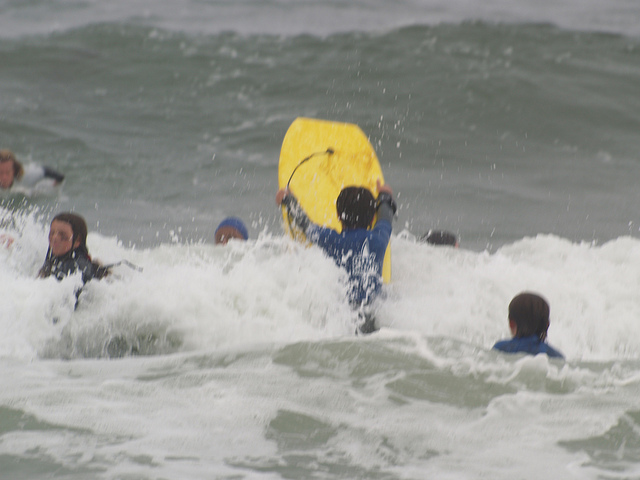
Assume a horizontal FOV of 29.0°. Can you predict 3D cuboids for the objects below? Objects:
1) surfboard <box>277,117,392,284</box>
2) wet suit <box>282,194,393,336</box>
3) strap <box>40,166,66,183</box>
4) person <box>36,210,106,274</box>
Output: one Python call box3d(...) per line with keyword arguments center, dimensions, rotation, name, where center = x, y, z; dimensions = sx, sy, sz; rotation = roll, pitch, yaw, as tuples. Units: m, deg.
box3d(center=(0.122, -0.506, 13.256), dimensions=(0.945, 2.276, 0.200), rotation=(17, 65, 10), name="surfboard")
box3d(center=(0.178, 0.276, 11.760), dimensions=(1.182, 0.525, 1.777), rotation=(-2, 53, -9), name="wet suit")
box3d(center=(-2.795, -0.692, 12.976), dimensions=(0.348, 0.084, 0.080), rotation=(24, -24, -39), name="strap")
box3d(center=(-2.300, 0.107, 11.524), dimensions=(0.446, 0.604, 0.948), rotation=(10, -12, -35), name="person")
